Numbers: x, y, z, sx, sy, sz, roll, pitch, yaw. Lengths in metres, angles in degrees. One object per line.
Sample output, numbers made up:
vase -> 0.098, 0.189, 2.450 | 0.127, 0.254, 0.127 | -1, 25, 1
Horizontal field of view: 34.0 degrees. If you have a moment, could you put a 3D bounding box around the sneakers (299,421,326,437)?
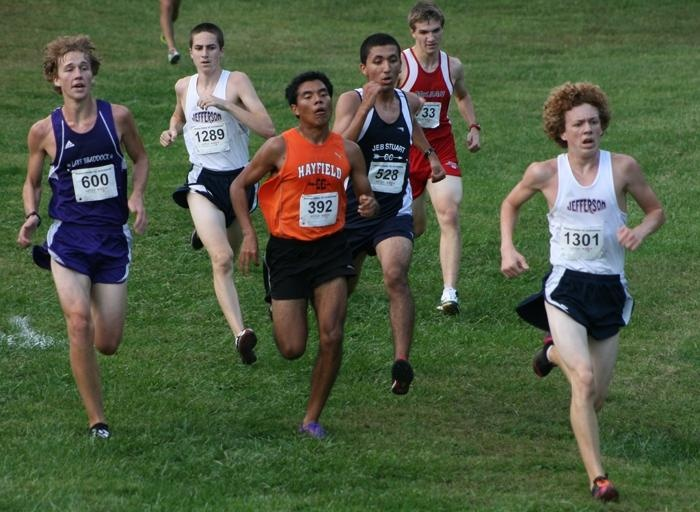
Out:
sneakers -> -0.303, 1.411, 9.268 | 0.207, 0.114, 0.214 | -5, 16, -14

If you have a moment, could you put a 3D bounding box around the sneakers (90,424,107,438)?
sneakers -> -2.000, 1.392, 9.132 | 0.148, 0.091, 0.105 | -5, 15, -14

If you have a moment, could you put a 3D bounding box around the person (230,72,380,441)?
person -> -0.373, -0.032, 9.328 | 1.057, 2.844, 0.900 | 0, 15, 6

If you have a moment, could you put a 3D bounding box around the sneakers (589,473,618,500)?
sneakers -> 1.884, 1.721, 8.501 | 0.197, 0.152, 0.170 | -5, 15, -14

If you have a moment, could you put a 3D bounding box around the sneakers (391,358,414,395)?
sneakers -> 0.409, 0.985, 9.290 | 0.159, 0.352, 0.181 | -2, 15, -1

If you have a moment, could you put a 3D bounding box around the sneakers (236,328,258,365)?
sneakers -> -0.871, 0.785, 9.720 | 0.144, 0.344, 0.163 | -20, 46, -25

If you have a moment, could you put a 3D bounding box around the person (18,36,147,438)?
person -> -2.216, -0.206, 9.424 | 1.003, 3.102, 1.166 | 2, 15, 13

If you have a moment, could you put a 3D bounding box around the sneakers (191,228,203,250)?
sneakers -> -1.582, -0.153, 11.649 | 0.112, 0.293, 0.120 | -4, 26, 1

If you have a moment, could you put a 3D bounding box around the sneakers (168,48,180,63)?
sneakers -> -2.676, -3.043, 17.349 | 0.118, 0.132, 0.287 | -6, -7, -16
